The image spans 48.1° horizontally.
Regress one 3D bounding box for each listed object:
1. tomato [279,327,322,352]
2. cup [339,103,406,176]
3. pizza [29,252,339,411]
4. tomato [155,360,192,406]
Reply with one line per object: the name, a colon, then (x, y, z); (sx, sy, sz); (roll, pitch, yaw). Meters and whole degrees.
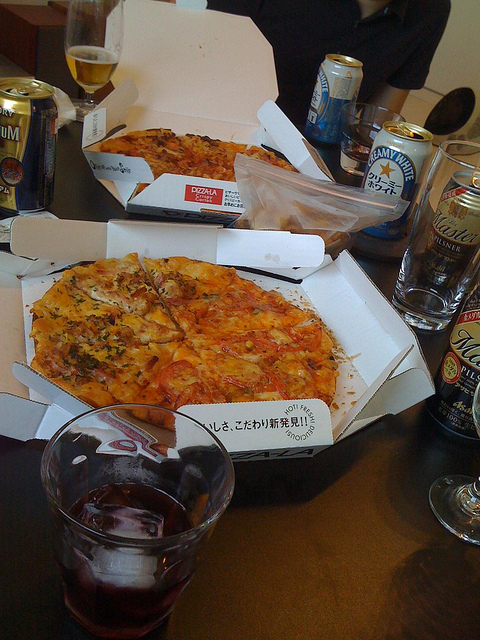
tomato: (0.096, 0.029, 0.840); (0.046, 0.011, 0.042); (6, 27, 12)
cup: (0.333, -0.487, 1.455); (0.146, 0.166, 0.172); (11, 31, -3)
pizza: (-0.078, 0.015, 0.825); (0.412, 0.070, 0.396); (-15, 39, -31)
tomato: (-0.097, 0.081, 0.725); (0.055, 0.041, 0.066); (-4, 25, -26)
